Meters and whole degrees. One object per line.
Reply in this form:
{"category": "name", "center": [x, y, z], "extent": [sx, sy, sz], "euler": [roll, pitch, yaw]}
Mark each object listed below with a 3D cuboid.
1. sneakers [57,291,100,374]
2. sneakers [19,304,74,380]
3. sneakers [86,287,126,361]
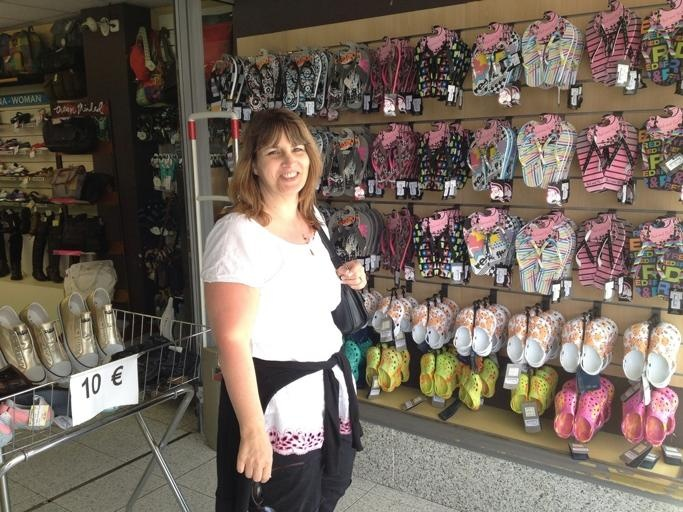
{"category": "sneakers", "center": [-1.472, 0.444, 2.834], "extent": [0.121, 0.394, 0.148], "euler": [-13, -4, -42]}
{"category": "sneakers", "center": [-1.589, 0.474, 2.725], "extent": [0.129, 0.341, 0.106], "euler": [-27, -1, 43]}
{"category": "sneakers", "center": [-1.458, 0.421, 3.114], "extent": [0.136, 0.434, 0.160], "euler": [-12, -8, -42]}
